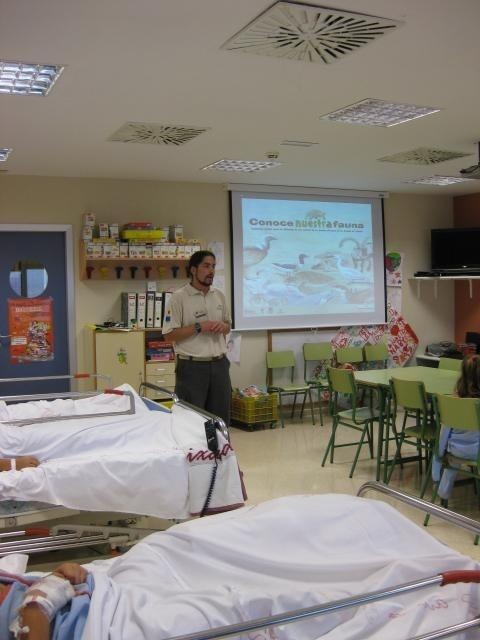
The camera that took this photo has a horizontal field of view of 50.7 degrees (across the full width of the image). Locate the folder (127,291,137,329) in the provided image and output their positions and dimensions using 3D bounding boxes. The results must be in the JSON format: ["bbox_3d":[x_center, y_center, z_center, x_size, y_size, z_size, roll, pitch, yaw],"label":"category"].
[{"bbox_3d":[-1.140,-0.104,5.354,0.108,0.354,0.098,-2,4,-2],"label":"folder"}]

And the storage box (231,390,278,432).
[{"bbox_3d":[0.171,1.052,6.114,0.519,0.288,0.496,-1,2,-25],"label":"storage box"}]

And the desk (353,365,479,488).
[{"bbox_3d":[1.616,0.990,4.599,0.991,0.957,1.097,-2,6,-11],"label":"desk"}]

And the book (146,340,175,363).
[{"bbox_3d":[-0.845,0.322,5.347,0.255,0.140,0.243,2,-1,-22],"label":"book"}]

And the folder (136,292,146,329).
[{"bbox_3d":[-1.043,-0.099,5.352,0.090,0.364,0.127,-1,4,1],"label":"folder"}]

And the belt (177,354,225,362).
[{"bbox_3d":[-0.296,0.287,3.932,0.362,0.057,0.128,-1,4,-4],"label":"belt"}]

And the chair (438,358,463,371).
[{"bbox_3d":[2.237,0.464,5.365,0.242,0.175,0.186,5,1,10],"label":"chair"}]

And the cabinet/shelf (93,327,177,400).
[{"bbox_3d":[-1.037,0.400,4.859,0.876,0.760,0.344,-1,1,-24],"label":"cabinet/shelf"}]

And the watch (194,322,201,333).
[{"bbox_3d":[-0.313,0.052,3.838,0.049,0.062,0.071,3,34,-8],"label":"watch"}]

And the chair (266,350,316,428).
[{"bbox_3d":[0.715,0.848,6.509,0.697,0.890,0.599,-3,5,-16],"label":"chair"}]
